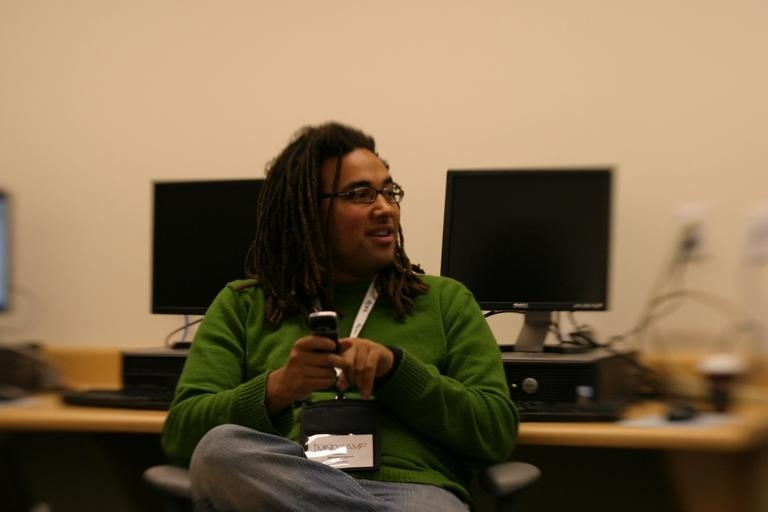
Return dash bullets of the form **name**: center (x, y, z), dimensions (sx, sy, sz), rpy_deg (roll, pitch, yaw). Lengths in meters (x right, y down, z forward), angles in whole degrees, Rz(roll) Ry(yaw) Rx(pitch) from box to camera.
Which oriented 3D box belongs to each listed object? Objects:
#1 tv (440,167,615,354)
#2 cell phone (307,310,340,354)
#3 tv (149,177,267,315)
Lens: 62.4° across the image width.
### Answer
- **tv**: center (0.508, -0.002, 2.220), dimensions (0.726, 0.667, 0.233), rpy_deg (0, -8, 6)
- **cell phone**: center (-0.153, 0.200, 1.652), dimensions (0.075, 0.114, 0.075), rpy_deg (1, 3, 0)
- **tv**: center (-0.613, -0.019, 2.231), dimensions (0.556, 0.530, 0.058), rpy_deg (-1, -1, 0)
